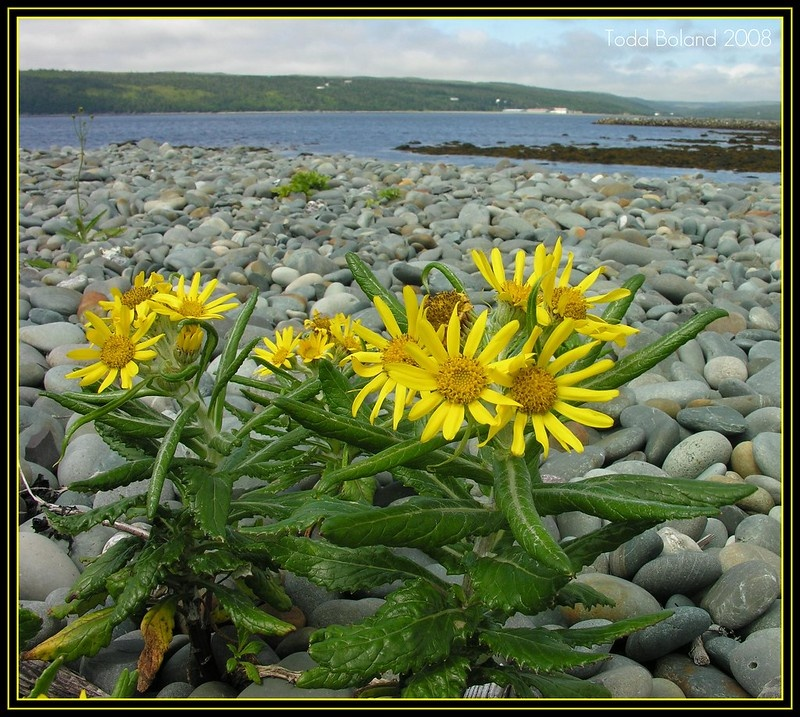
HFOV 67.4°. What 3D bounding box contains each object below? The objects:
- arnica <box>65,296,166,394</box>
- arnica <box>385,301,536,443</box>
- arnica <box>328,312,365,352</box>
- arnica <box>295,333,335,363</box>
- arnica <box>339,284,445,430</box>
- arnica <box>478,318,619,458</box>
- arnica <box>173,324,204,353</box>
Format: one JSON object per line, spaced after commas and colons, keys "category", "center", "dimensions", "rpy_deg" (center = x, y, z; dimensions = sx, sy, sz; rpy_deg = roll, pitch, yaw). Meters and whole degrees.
{"category": "arnica", "center": [-0.844, -0.048, 1.823], "dimensions": [0.239, 0.260, 0.232], "rpy_deg": [6, 16, 10]}
{"category": "arnica", "center": [0.137, 0.042, 1.418], "dimensions": [0.319, 0.310, 0.285], "rpy_deg": [5, 16, 6]}
{"category": "arnica", "center": [-0.213, -0.089, 2.390], "dimensions": [0.077, 0.179, 0.152], "rpy_deg": [-38, 43, 22]}
{"category": "arnica", "center": [-0.334, -0.046, 2.408], "dimensions": [0.140, 0.118, 0.154], "rpy_deg": [0, 15, -9]}
{"category": "arnica", "center": [-0.026, -0.010, 1.578], "dimensions": [0.107, 0.294, 0.385], "rpy_deg": [-2, -1, 34]}
{"category": "arnica", "center": [0.330, 0.068, 1.439], "dimensions": [0.409, 0.304, 0.117], "rpy_deg": [-17, 11, 1]}
{"category": "arnica", "center": [-0.672, -0.065, 1.901], "dimensions": [0.071, 0.077, 0.060], "rpy_deg": [16, 48, -9]}
